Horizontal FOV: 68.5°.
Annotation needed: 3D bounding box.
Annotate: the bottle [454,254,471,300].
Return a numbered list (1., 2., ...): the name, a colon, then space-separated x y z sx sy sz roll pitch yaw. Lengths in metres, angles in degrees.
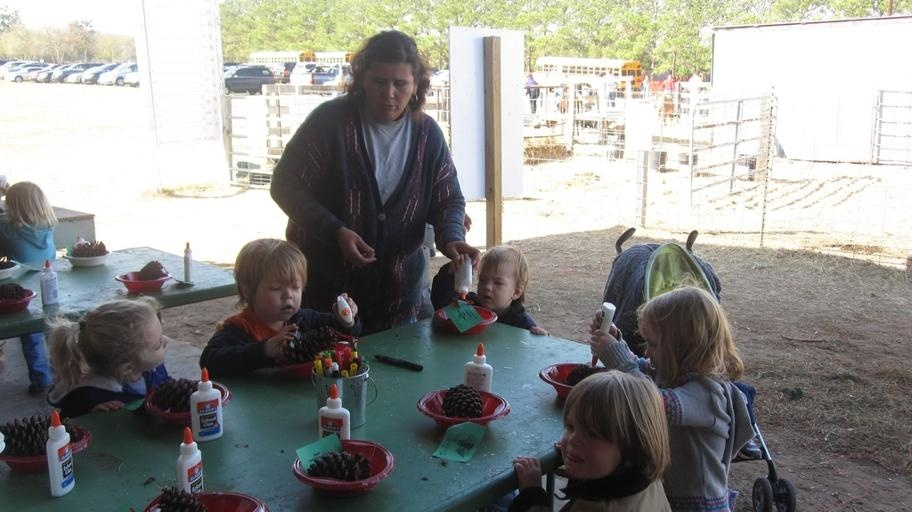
1. bottle: 0.076 0.176 5.729 0.151 0.390 0.176 -1 13 -8

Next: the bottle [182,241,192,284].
1. bottle: -2.612 0.050 6.505 0.080 0.380 0.236 -5 14 -23

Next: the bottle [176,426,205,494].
1. bottle: -1.679 1.269 4.231 0.164 0.401 0.313 -5 13 -22

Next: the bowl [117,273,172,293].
1. bowl: -2.993 0.244 6.397 0.501 0.149 0.293 2 11 7

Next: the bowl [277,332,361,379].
1. bowl: -0.993 0.696 4.959 0.215 0.216 0.382 -29 57 -9

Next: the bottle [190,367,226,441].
1. bottle: -1.678 0.995 4.502 0.203 0.468 0.140 -4 14 -22

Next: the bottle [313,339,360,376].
1. bottle: -0.832 0.726 4.735 0.227 0.281 0.297 0 -6 -6

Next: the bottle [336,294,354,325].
1. bottle: -0.870 0.412 5.273 0.153 0.226 0.075 -20 8 -27

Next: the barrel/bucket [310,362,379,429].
1. barrel/bucket: -0.733 0.925 4.757 0.467 0.333 0.459 1 2 0

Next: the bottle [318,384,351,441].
1. bottle: -0.797 1.032 4.447 0.187 0.367 0.288 -5 14 -25
